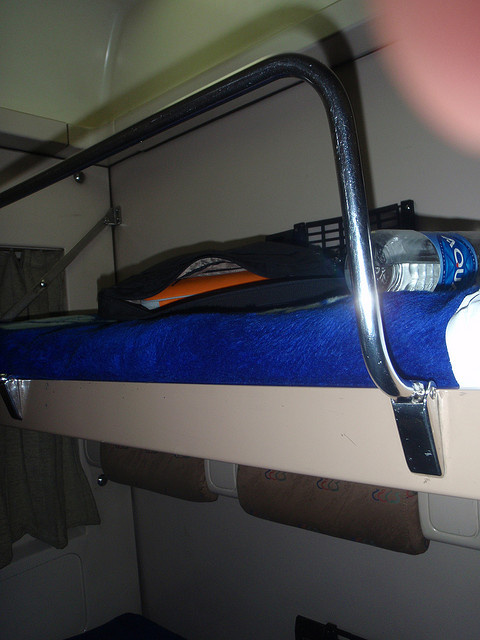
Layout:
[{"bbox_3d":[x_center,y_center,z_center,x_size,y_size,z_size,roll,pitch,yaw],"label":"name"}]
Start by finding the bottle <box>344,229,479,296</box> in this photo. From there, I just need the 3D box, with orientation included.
[{"bbox_3d":[0.245,-0.084,0.653,0.132,0.091,0.103,-6,0,15],"label":"bottle"}]
